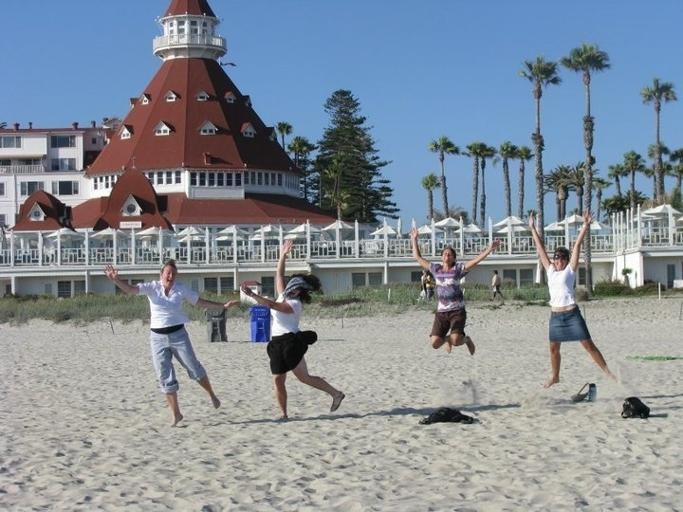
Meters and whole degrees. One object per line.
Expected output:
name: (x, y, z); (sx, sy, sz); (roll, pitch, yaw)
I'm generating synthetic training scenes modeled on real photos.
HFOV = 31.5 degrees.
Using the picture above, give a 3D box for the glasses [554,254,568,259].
glasses: (3.330, 0.012, 18.494); (0.181, 0.088, 0.122); (2, 6, 31)

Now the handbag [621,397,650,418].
handbag: (4.362, 2.242, 17.931); (0.401, 0.267, 0.326); (0, 5, 14)

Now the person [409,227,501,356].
person: (1.713, 0.605, 19.148); (1.139, 2.006, 1.072); (-1, 5, 2)

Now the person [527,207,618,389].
person: (3.569, 0.754, 18.970); (1.182, 2.905, 1.394); (-1, 5, 9)

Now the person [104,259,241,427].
person: (-2.533, 1.292, 18.037); (1.540, 2.439, 0.634); (-3, 5, -11)
